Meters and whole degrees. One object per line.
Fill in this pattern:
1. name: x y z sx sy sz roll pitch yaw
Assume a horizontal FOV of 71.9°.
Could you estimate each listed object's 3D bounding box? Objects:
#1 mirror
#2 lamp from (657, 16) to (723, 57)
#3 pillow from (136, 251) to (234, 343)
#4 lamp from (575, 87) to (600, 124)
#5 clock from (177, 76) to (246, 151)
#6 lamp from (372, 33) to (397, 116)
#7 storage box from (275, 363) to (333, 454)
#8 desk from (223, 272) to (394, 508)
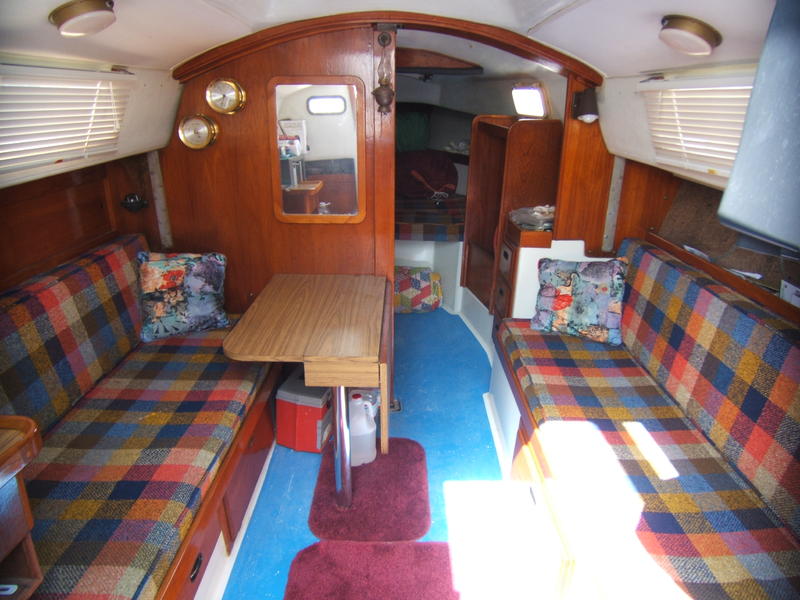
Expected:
1. mirror: -0.482 -0.910 3.181 0.751 1.048 0.039 0 19 -3
2. lamp: 1.075 -0.990 2.051 0.217 0.133 0.160 9 20 22
3. pillow: -1.208 -0.008 3.042 0.447 0.481 0.180 -5 13 -21
4. lamp: 1.074 -1.117 3.165 0.162 0.200 0.149 2 19 2
5. clock: -1.069 -1.053 3.138 0.376 0.387 0.091 2 19 4
6. lamp: -0.096 -1.272 3.076 0.120 0.445 0.076 -2 19 -10
7. storage box: -0.550 0.661 3.263 0.277 0.318 0.459 7 5 5
8. desk: -0.476 0.406 3.160 0.698 0.884 1.260 -2 24 -4
